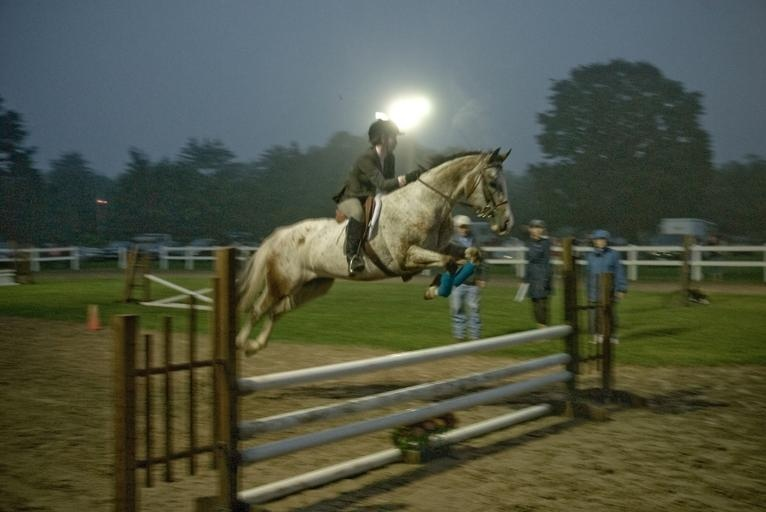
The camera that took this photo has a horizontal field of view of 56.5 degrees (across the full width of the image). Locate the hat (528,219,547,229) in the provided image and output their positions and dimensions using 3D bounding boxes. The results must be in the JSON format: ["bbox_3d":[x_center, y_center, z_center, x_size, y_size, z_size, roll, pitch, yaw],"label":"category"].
[{"bbox_3d":[2.593,-0.619,12.017,0.376,0.167,0.342,1,3,24],"label":"hat"}]

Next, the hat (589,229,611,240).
[{"bbox_3d":[3.569,-0.430,11.535,0.364,0.130,0.237,-5,8,-36],"label":"hat"}]

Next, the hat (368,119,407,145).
[{"bbox_3d":[0.031,-1.522,9.024,0.423,0.295,0.303,0,3,-1],"label":"hat"}]

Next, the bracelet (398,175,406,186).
[{"bbox_3d":[0.242,-0.953,8.972,0.120,0.112,0.133,8,3,-2],"label":"bracelet"}]

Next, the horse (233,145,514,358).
[{"bbox_3d":[-0.258,-0.061,9.394,4.447,1.910,0.897,-9,-7,30],"label":"horse"}]
